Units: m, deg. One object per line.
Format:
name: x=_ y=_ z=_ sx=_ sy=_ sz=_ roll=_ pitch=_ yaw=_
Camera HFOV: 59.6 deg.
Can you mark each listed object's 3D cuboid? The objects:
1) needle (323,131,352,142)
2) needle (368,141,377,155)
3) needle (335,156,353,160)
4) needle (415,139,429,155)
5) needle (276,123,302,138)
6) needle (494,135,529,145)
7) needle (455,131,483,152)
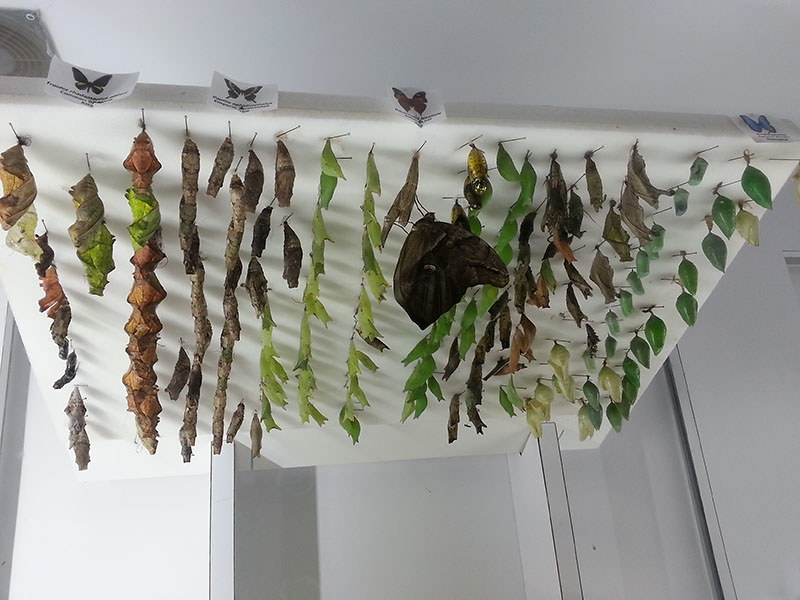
needle: x=-0.202 y=-0.516 z=2.191 sx=0.066 sy=0.014 sz=0.013 roll=-10 pitch=-41 yaw=-6
needle: x=-0.089 y=-0.486 z=2.232 sx=0.014 sy=0.006 sz=0.041 roll=9 pitch=-42 yaw=-7
needle: x=-0.181 y=-0.454 z=2.235 sx=0.048 sy=0.010 sz=0.013 roll=1 pitch=-28 yaw=-10
needle: x=0.067 y=-0.492 z=2.245 sx=0.015 sy=0.014 sz=0.082 roll=2 pitch=-38 yaw=-35
needle: x=-0.342 y=-0.519 z=2.170 sx=0.080 sy=0.013 sz=0.033 roll=-22 pitch=-37 yaw=18
needle: x=0.361 y=-0.516 z=2.258 sx=0.092 sy=0.010 sz=0.015 roll=-6 pitch=-28 yaw=2
needle: x=0.218 y=-0.512 z=2.243 sx=0.100 sy=0.012 sz=0.007 roll=-34 pitch=-54 yaw=2
